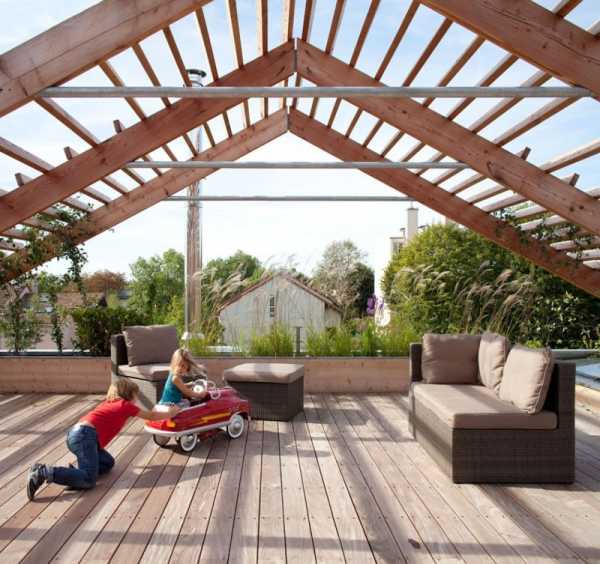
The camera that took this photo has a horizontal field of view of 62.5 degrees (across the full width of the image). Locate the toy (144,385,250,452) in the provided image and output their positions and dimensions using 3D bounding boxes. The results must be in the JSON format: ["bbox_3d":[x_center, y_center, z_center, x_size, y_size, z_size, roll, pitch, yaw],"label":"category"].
[{"bbox_3d":[-0.864,1.136,4.285,0.458,0.436,0.868,0,3,42],"label":"toy"}]

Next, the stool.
[{"bbox_3d":[-0.281,1.064,4.970,0.628,0.361,0.600,-1,-5,10],"label":"stool"}]

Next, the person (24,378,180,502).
[{"bbox_3d":[-1.352,1.026,3.397,0.295,0.653,1.022,1,1,45],"label":"person"}]

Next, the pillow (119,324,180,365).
[{"bbox_3d":[-1.669,0.705,5.453,0.450,0.280,0.150,0,-31,-36],"label":"pillow"}]

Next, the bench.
[{"bbox_3d":[1.511,0.952,4.135,0.986,0.918,1.707,1,-3,-2],"label":"bench"}]

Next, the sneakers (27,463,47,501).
[{"bbox_3d":[-1.597,1.215,3.047,0.116,0.230,0.086,14,-8,-22],"label":"sneakers"}]
